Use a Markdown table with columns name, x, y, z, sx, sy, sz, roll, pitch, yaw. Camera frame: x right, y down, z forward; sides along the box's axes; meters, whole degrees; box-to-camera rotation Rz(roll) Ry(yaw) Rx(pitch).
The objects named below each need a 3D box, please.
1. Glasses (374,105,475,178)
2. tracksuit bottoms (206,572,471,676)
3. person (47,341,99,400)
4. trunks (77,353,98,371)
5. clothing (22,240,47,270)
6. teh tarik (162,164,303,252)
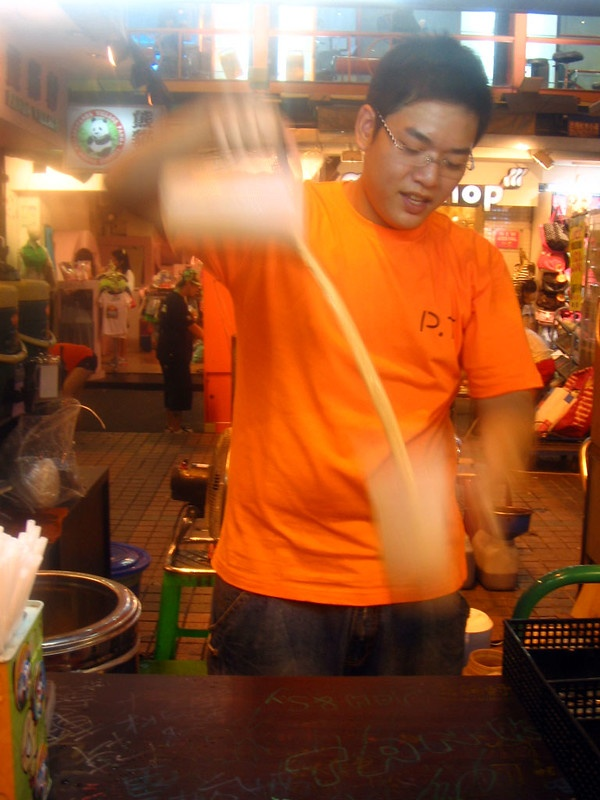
| name | x | y | z | sx | sy | sz | roll | pitch | yaw |
| --- | --- | --- | --- | --- | --- | --- | --- | --- | --- |
| Glasses | 0.226 | -0.471 | 1.212 | 0.179 | 0.127 | 0.079 | 1 | -5 | 3 |
| tracksuit bottoms | 0.070 | 0.362 | 1.322 | 0.446 | 0.277 | 0.231 | 0 | -2 | -2 |
| person | -2.085 | -0.253 | 6.103 | 0.550 | 0.664 | 0.369 | 4 | 10 | -1 |
| trunks | -2.264 | -0.393 | 6.984 | 0.160 | 0.191 | 0.111 | 12 | 18 | -24 |
| clothing | -3.298 | -1.773 | 8.197 | 0.322 | 0.368 | 0.278 | 3 | -6 | -22 |
| teh tarik | -0.095 | -0.265 | 0.906 | 0.198 | 0.093 | 0.251 | 0 | 1 | 0 |
